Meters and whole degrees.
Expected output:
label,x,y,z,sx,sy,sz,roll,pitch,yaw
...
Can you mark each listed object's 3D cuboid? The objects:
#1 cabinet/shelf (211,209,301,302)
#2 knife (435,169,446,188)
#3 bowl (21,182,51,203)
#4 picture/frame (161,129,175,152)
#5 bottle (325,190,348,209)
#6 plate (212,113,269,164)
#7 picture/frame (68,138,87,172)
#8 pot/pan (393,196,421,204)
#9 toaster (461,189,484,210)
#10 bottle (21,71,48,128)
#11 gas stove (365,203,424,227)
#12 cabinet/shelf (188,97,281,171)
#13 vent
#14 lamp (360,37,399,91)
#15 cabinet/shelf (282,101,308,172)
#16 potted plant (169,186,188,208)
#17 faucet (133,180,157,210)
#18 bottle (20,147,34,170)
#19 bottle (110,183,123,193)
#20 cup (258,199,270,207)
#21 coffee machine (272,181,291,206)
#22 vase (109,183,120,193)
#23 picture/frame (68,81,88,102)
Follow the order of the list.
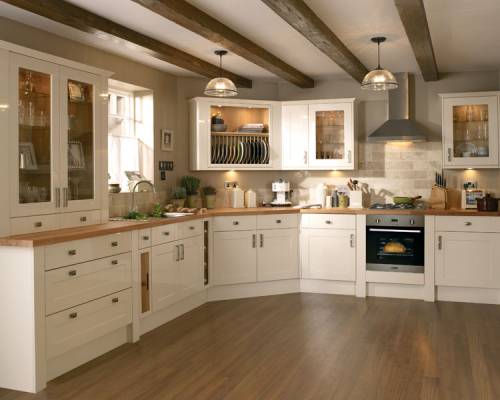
label,x,y,z,sx,sy,sz,roll,pitch,yaw
cabinet/shelf,0.030,0.684,4.925,1.269,0.959,0.448,0,-3,-18
knife,2.504,-0.276,5.301,0.142,0.197,0.193,2,6,23
bowl,-1.691,-0.060,3.192,0.046,0.158,0.251,2,6,21
picture/frame,-1.058,-0.778,5.149,0.015,0.318,0.335,-3,1,25
bottle,1.224,-0.013,5.560,0.346,0.226,0.204,0,-1,20
plate,-0.146,-0.826,5.489,0.894,0.719,0.274,0,0,-14
picture/frame,-1.511,-0.402,3.511,0.039,0.307,0.323,-4,-6,21
pot/pan,2.079,-0.002,5.341,0.347,0.107,0.340,1,5,20
toaster,2.769,-0.023,5.063,0.357,0.315,0.270,1,4,30
bottle,-1.695,-0.810,3.190,0.052,0.432,0.271,1,6,18
gas stove,1.770,0.203,4.950,0.660,0.225,0.329,1,5,14
cabinet/shelf,-0.230,-0.879,5.438,1.252,0.893,0.377,0,0,-18
vent,2.087,-1.287,5.552,0.991,0.903,0.924,-11,12,-39
lamp,1.290,-1.395,4.026,0.356,0.420,0.328,-6,12,-12
cabinet/shelf,0.622,-0.888,5.514,0.347,0.896,0.103,0,6,5
potted plant,-0.887,-0.040,5.087,0.282,0.285,0.265,0,-4,-3
faucet,-1.272,-0.027,4.807,0.155,0.364,0.419,0,5,10
bottle,-1.726,-0.332,3.126,0.021,0.182,0.124,1,6,16
bottle,-1.488,-0.132,4.455,0.108,0.080,0.099,1,4,0
cup,0.212,0.041,5.794,0.118,0.064,0.116,0,3,0
coffee machine,0.442,-0.099,5.626,0.345,0.339,0.339,0,-1,1
vase,-1.491,-0.130,4.452,0.106,0.079,0.098,0,4,-6
picture/frame,-1.512,-0.968,3.524,0.043,0.176,0.232,-5,-7,21
